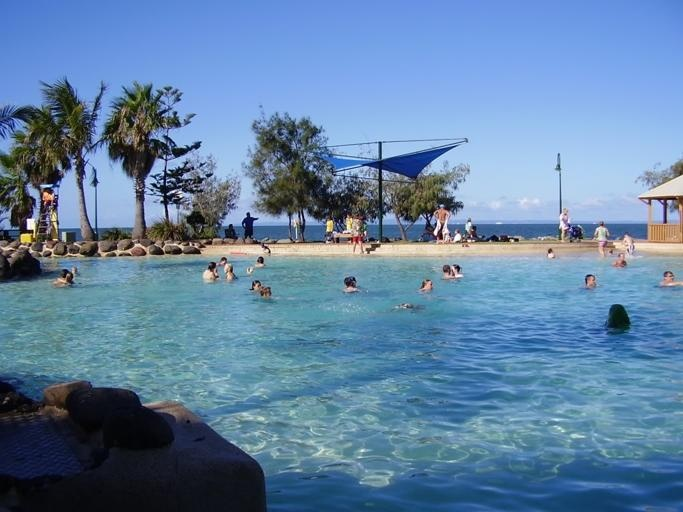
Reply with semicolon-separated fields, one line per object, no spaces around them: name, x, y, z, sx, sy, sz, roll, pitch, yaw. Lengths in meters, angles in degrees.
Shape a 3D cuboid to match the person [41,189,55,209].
person;-16.171;-3.158;35.099;0.597;1.137;1.424;-7;9;-44
